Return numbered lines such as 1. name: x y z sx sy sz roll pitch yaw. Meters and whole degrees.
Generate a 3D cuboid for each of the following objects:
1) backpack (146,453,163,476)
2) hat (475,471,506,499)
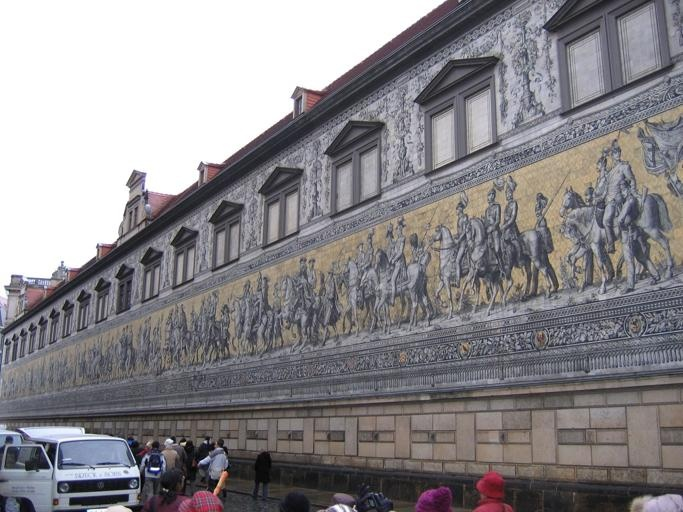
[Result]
1. backpack: -3.996 4.446 17.218 0.320 0.505 0.464 5 -33 -13
2. hat: 1.914 2.920 10.336 0.330 0.236 0.341 3 11 -1
